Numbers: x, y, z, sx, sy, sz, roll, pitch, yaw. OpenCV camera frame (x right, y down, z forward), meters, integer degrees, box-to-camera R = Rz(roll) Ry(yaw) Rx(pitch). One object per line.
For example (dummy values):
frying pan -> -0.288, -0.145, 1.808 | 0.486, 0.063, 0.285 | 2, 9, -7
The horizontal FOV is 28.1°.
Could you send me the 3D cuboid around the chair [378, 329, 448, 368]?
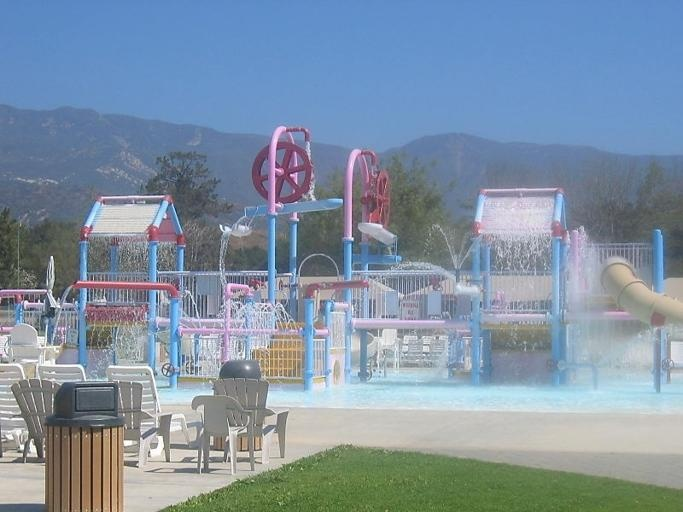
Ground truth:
chair -> 2.240, 3.025, 44.060 | 2.145, 1.410, 3.884 | -1, -7, -2
